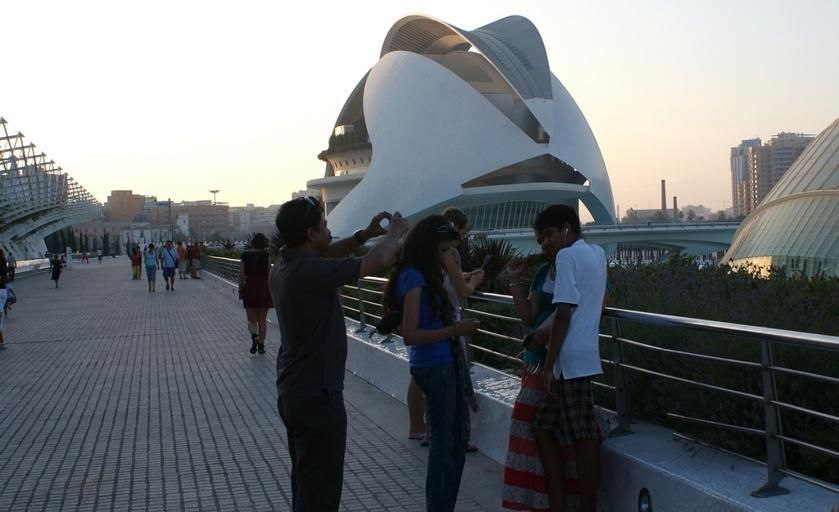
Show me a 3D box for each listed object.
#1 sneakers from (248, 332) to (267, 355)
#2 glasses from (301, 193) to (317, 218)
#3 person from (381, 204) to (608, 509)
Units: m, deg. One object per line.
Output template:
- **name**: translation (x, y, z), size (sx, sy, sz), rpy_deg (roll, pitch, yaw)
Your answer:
- **sneakers**: translation (-3.145, 1.697, 10.055), size (0.275, 0.398, 0.289), rpy_deg (0, 6, -17)
- **glasses**: translation (-0.780, -0.344, 3.704), size (0.084, 0.118, 0.113), rpy_deg (15, 35, 30)
- **person**: translation (0.342, 0.827, 4.113), size (1.360, 2.223, 0.842), rpy_deg (1, 5, -4)
